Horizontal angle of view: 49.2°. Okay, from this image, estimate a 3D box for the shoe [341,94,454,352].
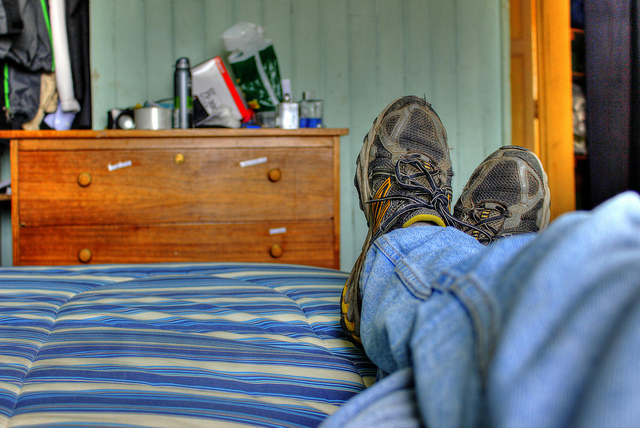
[{"bbox_3d":[0.228,-0.005,2.026,0.298,0.769,0.340,7,-10,-4],"label":"shoe"}]

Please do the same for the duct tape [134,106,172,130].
[{"bbox_3d":[-0.603,-0.347,2.502,0.101,0.059,0.100,-2,10,-22],"label":"duct tape"}]

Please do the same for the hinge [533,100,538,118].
[{"bbox_3d":[0.874,-0.426,2.837,0.019,0.055,0.057,4,6,6],"label":"hinge"}]

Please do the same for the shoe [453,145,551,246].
[{"bbox_3d":[0.582,-0.059,2.192,0.143,0.371,0.172,25,15,29],"label":"shoe"}]

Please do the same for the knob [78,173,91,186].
[{"bbox_3d":[-0.813,-0.118,2.416,0.042,0.044,0.020,-11,16,-23],"label":"knob"}]
